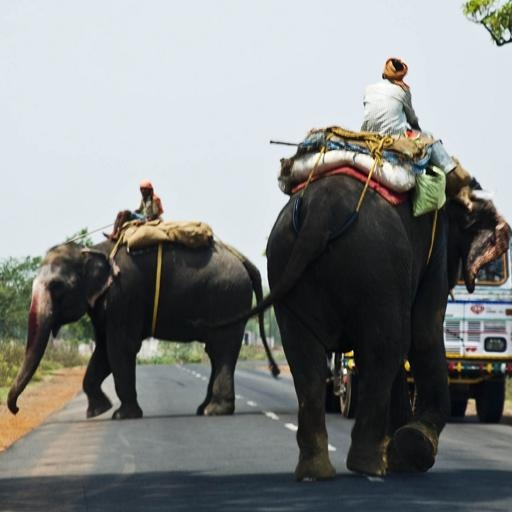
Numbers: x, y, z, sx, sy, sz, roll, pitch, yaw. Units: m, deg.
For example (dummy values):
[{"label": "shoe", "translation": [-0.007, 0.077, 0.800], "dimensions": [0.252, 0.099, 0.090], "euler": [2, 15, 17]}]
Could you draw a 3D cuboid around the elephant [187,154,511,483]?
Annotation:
[{"label": "elephant", "translation": [0.842, 0.511, 7.665], "dimensions": [2.083, 2.345, 0.879], "euler": [4, -3, -44]}]

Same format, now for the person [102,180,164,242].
[{"label": "person", "translation": [-1.746, -0.712, 14.742], "dimensions": [0.672, 0.931, 0.982], "euler": [1, -2, 4]}]
